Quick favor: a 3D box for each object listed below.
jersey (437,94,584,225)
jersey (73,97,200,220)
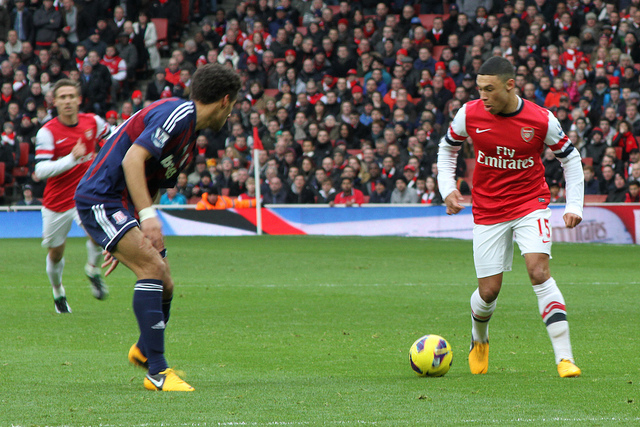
[{"bbox_3d":[2.614,-0.649,14.665,2.013,1.999,1.179,1,39,11],"label":"jersey"},{"bbox_3d":[-2.353,-0.720,14.180,1.063,2.099,1.892,28,-5,-4],"label":"jersey"}]
